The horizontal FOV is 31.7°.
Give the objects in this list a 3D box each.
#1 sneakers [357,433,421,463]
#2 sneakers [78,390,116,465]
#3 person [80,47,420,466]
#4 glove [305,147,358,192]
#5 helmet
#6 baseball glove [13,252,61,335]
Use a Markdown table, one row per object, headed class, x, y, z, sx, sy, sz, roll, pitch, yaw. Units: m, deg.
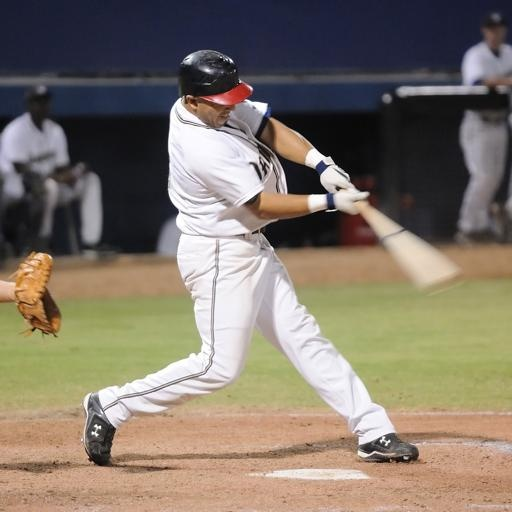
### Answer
| class | x | y | z | sx | sy | sz | roll | pitch | yaw |
| --- | --- | --- | --- | --- | --- | --- | --- | --- | --- |
| sneakers | 0.489 | 0.712 | 3.356 | 0.239 | 0.081 | 0.100 | -3 | -5 | 13 |
| sneakers | -0.592 | 0.652 | 3.453 | 0.178 | 0.266 | 0.106 | -9 | -7 | 15 |
| person | -0.075 | 0.010 | 3.344 | 1.210 | 1.530 | 0.470 | -4 | 6 | -9 |
| glove | 0.278 | -0.313 | 3.415 | 0.098 | 0.094 | 0.274 | 9 | 29 | -51 |
| helmet | -0.138 | -0.638 | 3.220 | 0.293 | 0.120 | 0.195 | 9 | 37 | 15 |
| baseball glove | -0.824 | 0.149 | 3.454 | 0.134 | 0.274 | 0.242 | -8 | -21 | 9 |
